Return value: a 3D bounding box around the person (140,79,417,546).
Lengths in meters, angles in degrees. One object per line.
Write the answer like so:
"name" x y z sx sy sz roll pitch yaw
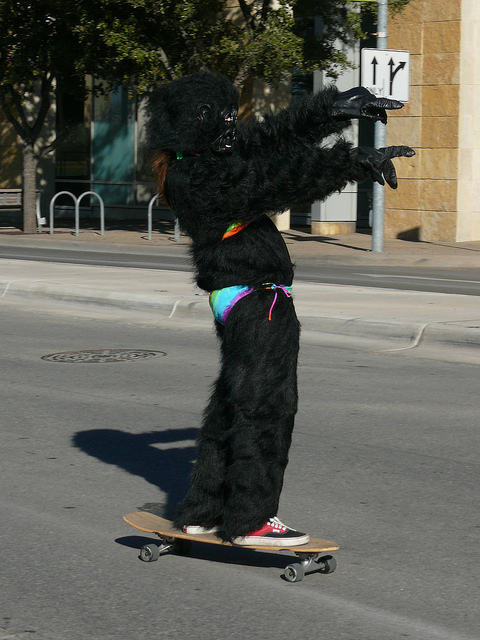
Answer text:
"person" 0.060 -0.022 2.532 0.972 1.597 0.376 4 8 38

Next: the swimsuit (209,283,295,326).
"swimsuit" 0.023 -0.057 2.624 0.300 0.150 0.225 0 5 7

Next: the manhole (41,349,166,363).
"manhole" -1.374 0.358 7.782 1.178 0.053 0.650 -1 5 -4

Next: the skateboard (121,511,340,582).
"skateboard" -0.115 0.798 2.791 0.897 0.126 0.270 6 1 22
